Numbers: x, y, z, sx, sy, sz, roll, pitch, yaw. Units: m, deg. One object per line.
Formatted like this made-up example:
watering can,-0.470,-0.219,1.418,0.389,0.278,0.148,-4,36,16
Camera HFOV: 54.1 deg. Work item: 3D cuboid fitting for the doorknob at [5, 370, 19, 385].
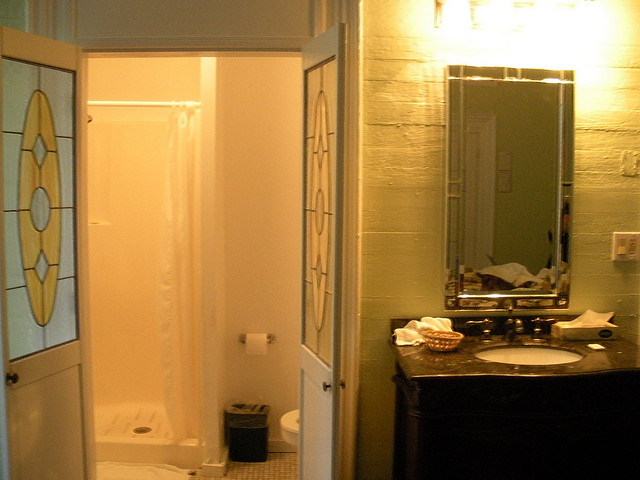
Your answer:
doorknob,-1.463,0.657,2.982,0.037,0.071,0.057,-3,6,5

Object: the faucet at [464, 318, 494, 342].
faucet,0.807,0.463,3.167,0.171,0.077,0.112,1,-1,5

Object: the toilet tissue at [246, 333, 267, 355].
toilet tissue,-0.420,0.693,4.150,0.194,0.116,0.143,0,0,4

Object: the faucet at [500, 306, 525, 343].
faucet,0.967,0.458,3.167,0.102,0.106,0.163,0,6,26

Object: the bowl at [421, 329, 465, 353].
bowl,0.597,0.496,3.046,0.187,0.086,0.148,-1,5,7

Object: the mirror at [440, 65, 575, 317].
mirror,0.968,-0.245,3.242,0.732,1.307,0.198,-3,7,6

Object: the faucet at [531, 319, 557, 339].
faucet,1.129,0.457,3.223,0.189,0.083,0.068,0,-2,8
